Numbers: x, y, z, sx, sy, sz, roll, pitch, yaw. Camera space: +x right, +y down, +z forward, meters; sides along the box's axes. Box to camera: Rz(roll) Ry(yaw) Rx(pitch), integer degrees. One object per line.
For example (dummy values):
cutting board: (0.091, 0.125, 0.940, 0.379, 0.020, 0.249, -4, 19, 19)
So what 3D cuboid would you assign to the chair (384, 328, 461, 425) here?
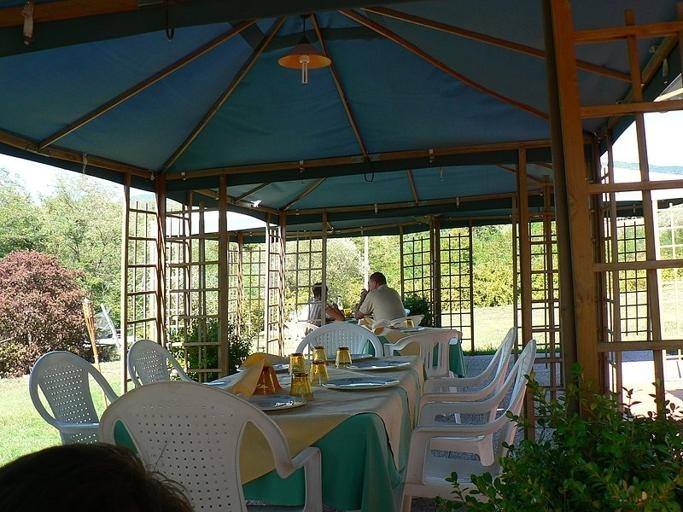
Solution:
chair: (0.852, 1.029, 5.574, 0.582, 0.803, 0.562, -3, 7, -18)

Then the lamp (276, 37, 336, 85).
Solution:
lamp: (-0.259, -1.370, 4.093, 0.339, 0.353, 0.339, -2, -1, 13)

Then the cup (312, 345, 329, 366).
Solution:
cup: (-0.135, 0.608, 3.601, 0.105, 0.107, 0.100, -2, -3, 0)

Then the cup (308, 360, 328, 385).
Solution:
cup: (-0.133, 0.679, 3.399, 0.100, 0.111, 0.113, -2, -3, 15)

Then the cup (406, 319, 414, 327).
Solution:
cup: (0.798, 0.763, 6.693, 0.079, 0.085, 0.150, -2, -10, 7)

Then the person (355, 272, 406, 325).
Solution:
person: (0.490, 0.485, 7.297, 0.600, 0.594, 1.041, -1, -4, -9)

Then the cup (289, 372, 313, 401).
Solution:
cup: (-0.206, 0.669, 3.013, 0.104, 0.119, 0.119, 0, -1, 8)

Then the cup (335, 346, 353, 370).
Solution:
cup: (0.008, 0.696, 4.030, 0.117, 0.118, 0.115, -3, -4, 0)

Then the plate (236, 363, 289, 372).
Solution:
plate: (-0.446, 0.646, 3.418, 0.184, 0.046, 0.180, 1, -3, 5)

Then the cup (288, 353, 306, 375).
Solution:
cup: (-0.272, 0.652, 3.610, 0.125, 0.138, 0.122, -1, -3, 0)
